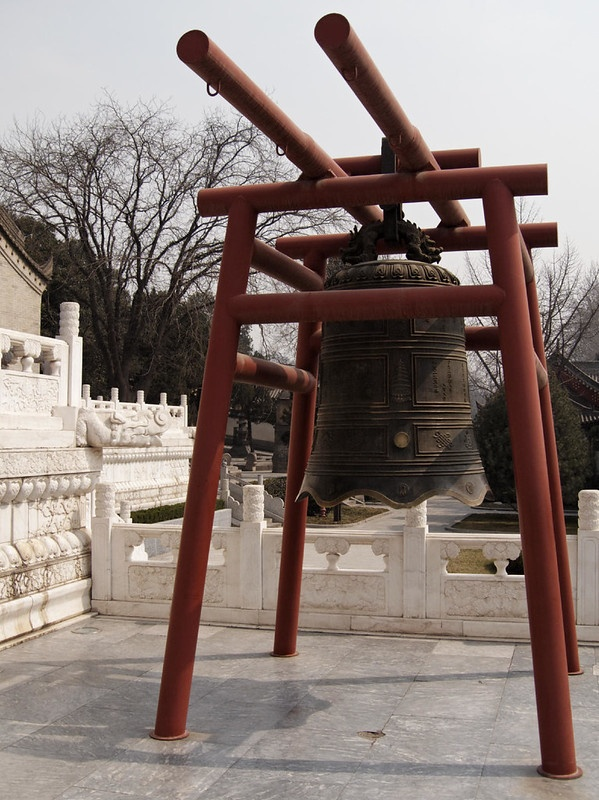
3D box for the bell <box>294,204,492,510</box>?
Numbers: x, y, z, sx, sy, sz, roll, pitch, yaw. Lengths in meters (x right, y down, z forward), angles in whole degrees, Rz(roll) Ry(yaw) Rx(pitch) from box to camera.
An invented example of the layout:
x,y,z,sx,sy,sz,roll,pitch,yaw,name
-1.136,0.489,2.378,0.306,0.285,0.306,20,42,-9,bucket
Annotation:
x,y,z,sx,sy,sz,roll,pitch,yaw,name
0.361,-0.200,2.981,0.767,1.258,0.631,0,-4,8,bell
